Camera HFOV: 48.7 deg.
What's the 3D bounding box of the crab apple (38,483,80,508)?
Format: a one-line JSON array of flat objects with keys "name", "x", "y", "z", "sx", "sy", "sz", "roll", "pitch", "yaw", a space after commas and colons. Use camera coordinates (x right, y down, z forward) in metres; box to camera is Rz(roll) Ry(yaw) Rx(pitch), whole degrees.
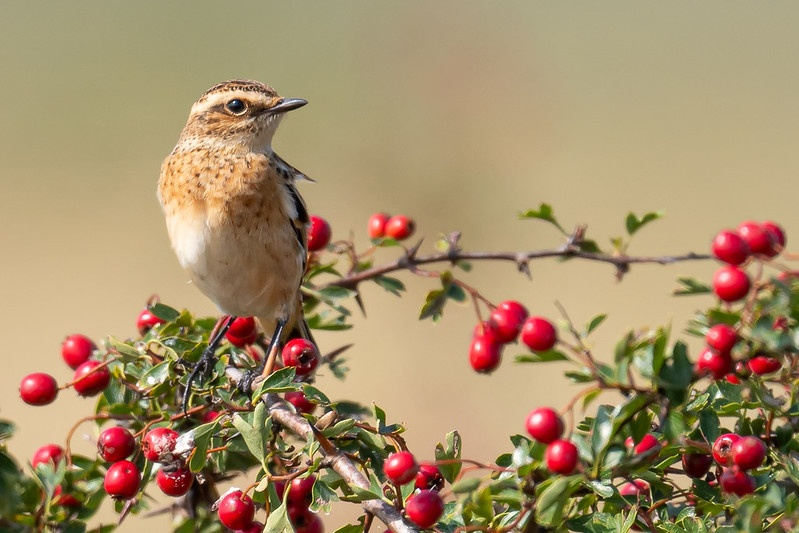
[{"name": "crab apple", "x": -1.135, "y": 0.795, "z": 2.991, "sx": 0.048, "sy": 0.046, "sz": 0.104, "roll": -35, "pitch": -69, "yaw": 17}]
